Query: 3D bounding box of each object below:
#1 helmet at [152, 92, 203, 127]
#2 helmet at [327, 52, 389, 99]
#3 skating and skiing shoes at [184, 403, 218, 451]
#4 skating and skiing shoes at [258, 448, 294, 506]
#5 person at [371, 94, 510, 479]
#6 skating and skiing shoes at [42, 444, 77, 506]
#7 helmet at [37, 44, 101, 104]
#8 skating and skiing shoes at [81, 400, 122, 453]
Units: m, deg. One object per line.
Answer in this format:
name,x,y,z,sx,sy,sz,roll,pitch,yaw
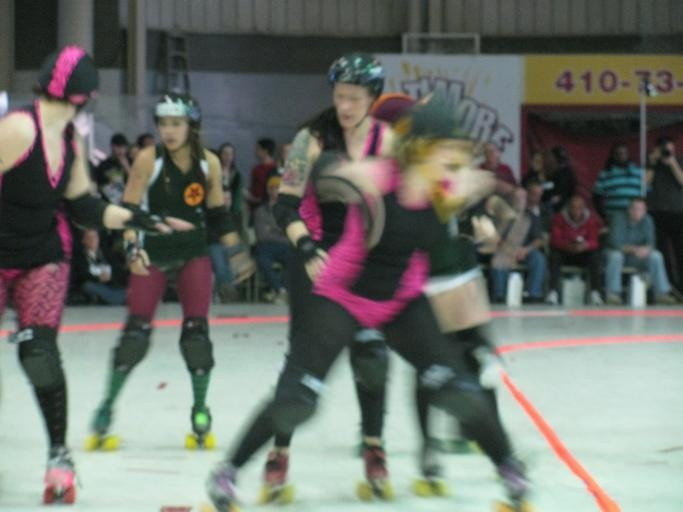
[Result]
helmet,-0.847,-0.748,4.782,0.208,0.173,0.168,-4,5,-33
helmet,0.075,-0.799,3.852,0.176,0.211,0.196,10,40,2
skating and skiing shoes,-0.730,0.858,4.825,0.150,0.152,0.398,4,15,-10
skating and skiing shoes,-0.279,0.967,3.963,0.140,0.255,0.099,4,4,9
person,0.385,0.065,3.790,0.541,1.472,0.210,4,6,43
skating and skiing shoes,-1.206,0.947,3.981,0.140,0.243,0.088,4,-9,-35
helmet,-1.150,-0.782,4.020,0.254,0.245,0.209,-9,6,-8
skating and skiing shoes,-1.207,0.888,4.675,0.113,0.316,0.160,-12,-23,41
